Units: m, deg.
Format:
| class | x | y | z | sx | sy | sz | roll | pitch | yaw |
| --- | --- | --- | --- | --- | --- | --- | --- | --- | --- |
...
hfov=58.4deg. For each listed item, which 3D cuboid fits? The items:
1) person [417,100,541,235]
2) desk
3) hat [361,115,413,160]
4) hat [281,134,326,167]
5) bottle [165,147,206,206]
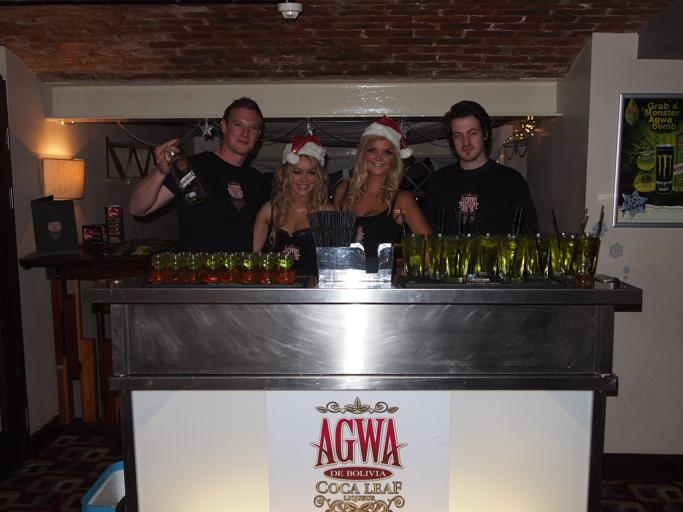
| class | x | y | z | sx | sy | sz | roll | pitch | yaw |
| --- | --- | --- | --- | --- | --- | --- | --- | --- | --- |
| person | 0.910 | -0.582 | 4.046 | 0.726 | 0.850 | 0.309 | 0 | 2 | 7 |
| desk | -1.910 | 0.559 | 4.723 | 0.914 | 1.367 | 0.754 | -1 | 2 | -16 |
| hat | 0.303 | -0.773 | 3.930 | 0.313 | 0.292 | 0.187 | -1 | 2 | -33 |
| hat | -0.238 | -0.666 | 3.958 | 0.245 | 0.157 | 0.175 | 10 | 0 | -38 |
| bottle | -0.811 | -0.410 | 3.193 | 0.125 | 0.285 | 0.222 | -2 | 2 | -34 |
